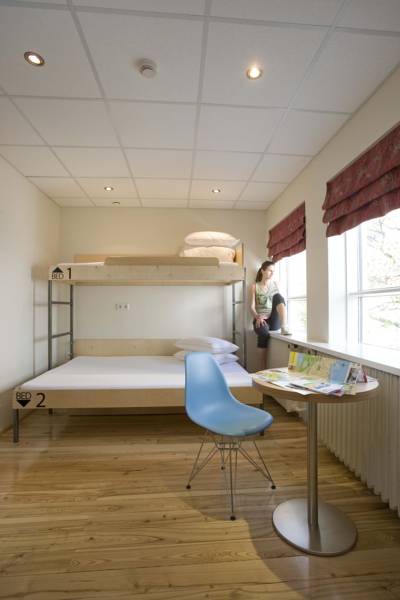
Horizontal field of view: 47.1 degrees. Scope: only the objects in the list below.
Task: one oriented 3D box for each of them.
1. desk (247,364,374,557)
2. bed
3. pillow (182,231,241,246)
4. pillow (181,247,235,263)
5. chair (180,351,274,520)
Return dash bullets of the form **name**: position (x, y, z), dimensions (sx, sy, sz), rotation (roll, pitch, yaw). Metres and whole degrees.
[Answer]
- **desk**: position (0.538, 0.738, 2.202), dimensions (0.603, 0.739, 0.601), rotation (3, 8, 44)
- **bed**: position (-0.589, 0.229, 4.172), dimensions (1.958, 1.374, 1.126), rotation (1, 1, -3)
- **pillow**: position (0.108, -0.572, 4.345), dimensions (0.479, 0.150, 0.201), rotation (-1, 8, 1)
- **pillow**: position (0.074, -0.425, 4.267), dimensions (0.500, 0.150, 0.261), rotation (-1, 8, -2)
- **chair**: position (0.151, 0.715, 2.660), dimensions (0.480, 0.761, 0.543), rotation (1, 0, -39)
